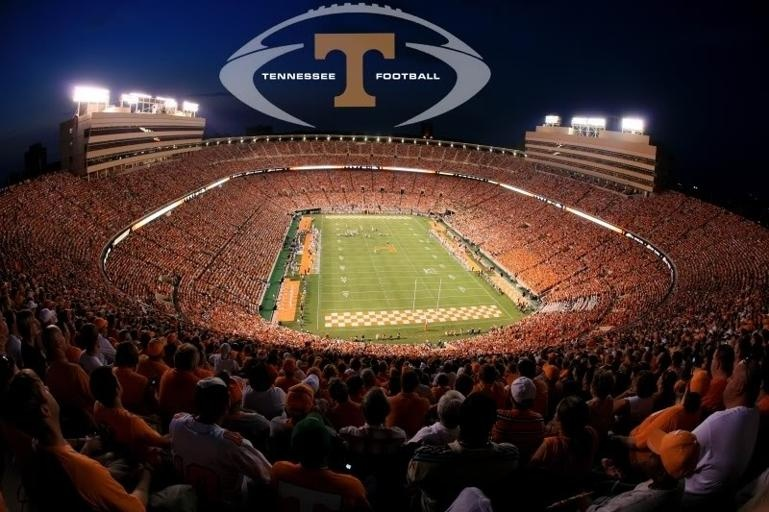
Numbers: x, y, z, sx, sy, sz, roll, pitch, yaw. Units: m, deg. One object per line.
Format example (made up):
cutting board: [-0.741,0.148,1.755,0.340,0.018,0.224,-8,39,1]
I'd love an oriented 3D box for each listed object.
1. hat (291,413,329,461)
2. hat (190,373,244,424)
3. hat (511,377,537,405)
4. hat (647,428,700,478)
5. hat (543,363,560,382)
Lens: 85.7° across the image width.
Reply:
hat: [-0.735,1.912,4.356,0.403,0.426,0.388,2,2,5]
hat: [-1.959,1.634,4.683,0.348,0.490,0.250,4,6,-12]
hat: [1.920,1.794,5.719,0.318,0.198,0.402,8,31,13]
hat: [2.889,1.950,4.226,0.342,0.314,0.439,4,5,-8]
hat: [3.530,2.449,8.731,0.300,0.376,0.639,7,6,21]
